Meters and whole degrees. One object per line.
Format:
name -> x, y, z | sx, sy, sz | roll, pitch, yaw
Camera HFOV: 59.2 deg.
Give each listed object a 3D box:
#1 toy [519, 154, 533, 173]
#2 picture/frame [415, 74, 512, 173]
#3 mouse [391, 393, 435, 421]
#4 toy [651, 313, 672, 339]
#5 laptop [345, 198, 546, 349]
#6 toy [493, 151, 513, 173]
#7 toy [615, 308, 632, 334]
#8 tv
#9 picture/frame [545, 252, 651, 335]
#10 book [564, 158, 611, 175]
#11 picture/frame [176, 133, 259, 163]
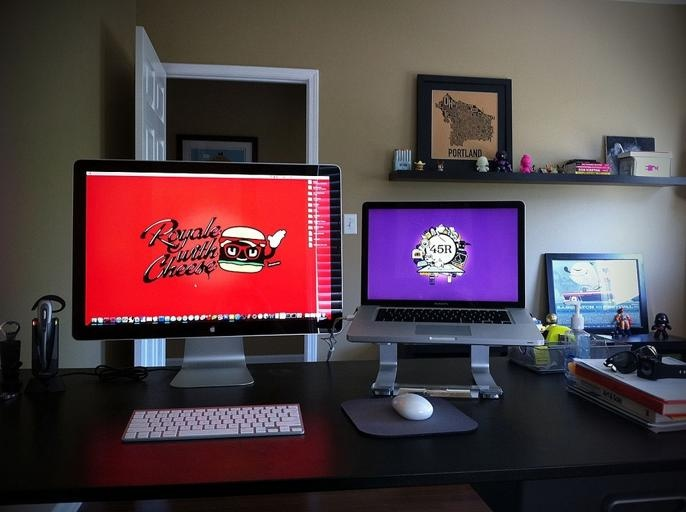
toy -> 1.107, -0.561, 3.640 | 0.073, 0.118, 0.219 | 2, 7, 16
picture/frame -> 0.700, -0.799, 3.639 | 0.569, 0.569, 0.045 | 1, -1, -10
mouse -> 0.183, 0.396, 1.623 | 0.080, 0.046, 0.063 | 14, 10, -29
toy -> 1.940, 0.422, 3.688 | 0.114, 0.172, 0.089 | -2, -19, 25
laptop -> 0.297, 0.020, 1.806 | 0.508, 0.397, 0.341 | 0, 8, 8
toy -> 0.952, -0.566, 3.622 | 0.075, 0.141, 0.123 | -8, 12, -35
toy -> 1.730, 0.392, 3.717 | 0.146, 0.154, 0.069 | -4, 7, -30
tv -> -0.425, 0.036, 1.861 | 0.846, 0.754, 0.228 | 0, -3, -9
picture/frame -> 1.492, 0.221, 3.583 | 0.474, 0.426, 0.038 | 0, -8, -4
book -> 1.482, -0.545, 3.681 | 0.301, 0.098, 0.177 | 0, 7, -4
picture/frame -> -1.109, -0.962, 5.311 | 0.714, 0.224, 0.182 | -2, 6, -15
